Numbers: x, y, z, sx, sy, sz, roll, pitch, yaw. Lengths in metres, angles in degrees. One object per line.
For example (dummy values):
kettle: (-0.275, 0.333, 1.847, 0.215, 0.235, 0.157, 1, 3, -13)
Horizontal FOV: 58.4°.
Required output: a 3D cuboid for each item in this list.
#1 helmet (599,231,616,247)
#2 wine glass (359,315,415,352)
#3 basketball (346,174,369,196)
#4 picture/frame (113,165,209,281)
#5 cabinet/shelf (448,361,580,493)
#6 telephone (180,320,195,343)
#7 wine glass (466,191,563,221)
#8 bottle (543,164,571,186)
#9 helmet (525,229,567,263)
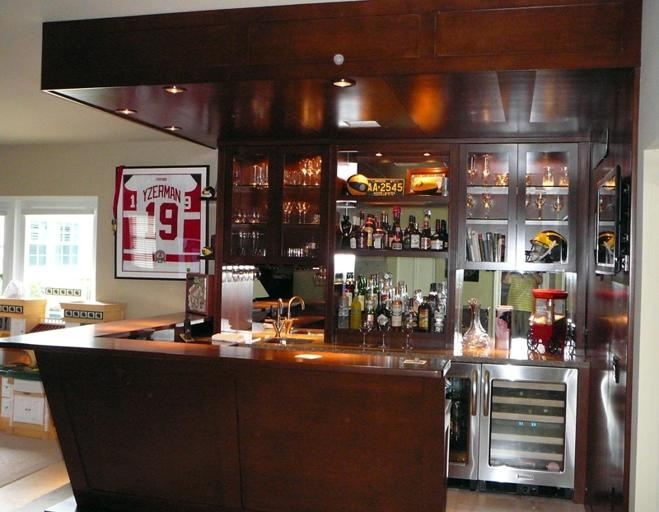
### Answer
helmet: (1.783, -0.113, 3.789, 0.106, 0.099, 0.104, 0, 4, -33)
wine glass: (0.524, 0.697, 5.206, 0.288, 0.263, 0.093, 1, -1, 12)
basketball: (0.253, -0.638, 5.323, 0.184, 0.187, 0.182, -11, 8, -35)
picture/frame: (-1.923, -0.386, 6.866, 1.403, 1.471, 0.070, 0, 1, 10)
cabinet/shelf: (1.484, 1.347, 4.626, 1.212, 1.126, 0.593, 1, -4, 13)
telephone: (-1.268, 0.673, 5.251, 0.085, 0.183, 0.221, -2, 3, -22)
wine glass: (1.581, -0.441, 4.989, 0.815, 0.296, 0.126, 0, 1, 17)
bottle: (1.908, -0.677, 4.921, 0.190, 0.171, 0.074, 1, 1, 16)
helmet: (1.809, -0.074, 4.923, 0.309, 0.252, 0.242, 2, 3, 21)
